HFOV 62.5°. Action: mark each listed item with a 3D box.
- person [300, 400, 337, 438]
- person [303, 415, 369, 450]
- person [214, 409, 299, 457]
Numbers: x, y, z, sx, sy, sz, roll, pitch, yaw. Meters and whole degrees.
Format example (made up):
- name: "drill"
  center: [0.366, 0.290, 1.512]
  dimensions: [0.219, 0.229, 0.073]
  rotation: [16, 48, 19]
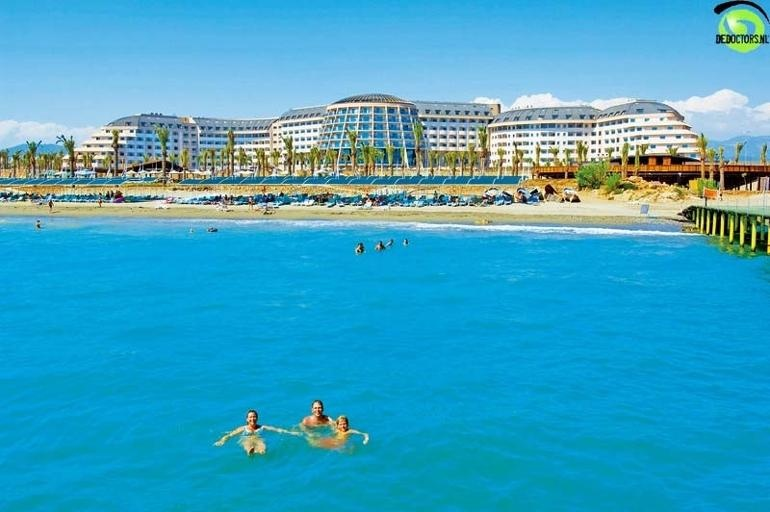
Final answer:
- name: "person"
  center: [-1.902, 4.497, 17.950]
  dimensions: [1.113, 0.771, 0.530]
  rotation: [0, -6, -6]
- name: "person"
  center: [-1.303, 4.789, 17.368]
  dimensions: [1.685, 0.667, 0.793]
  rotation: [-2, 9, -8]
- name: "person"
  center: [-3.693, 4.932, 17.380]
  dimensions: [1.341, 0.418, 1.400]
  rotation: [0, 25, -14]
